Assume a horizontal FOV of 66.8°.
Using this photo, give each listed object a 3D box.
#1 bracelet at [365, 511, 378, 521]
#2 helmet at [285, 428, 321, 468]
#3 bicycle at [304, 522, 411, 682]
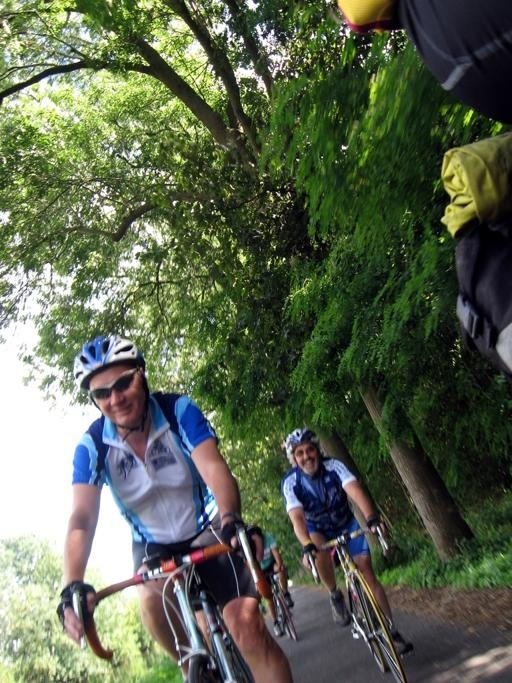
[{"bbox_3d":[1.342,2.036,4.528,0.144,0.064,0.117,-35,-21,-5],"label":"bracelet"},{"bbox_3d":[0.704,1.530,6.131,0.389,0.694,0.548,-2,3,2],"label":"helmet"},{"bbox_3d":[1.369,3.442,5.071,0.750,1.482,2.390,-18,-31,-11],"label":"bicycle"}]
